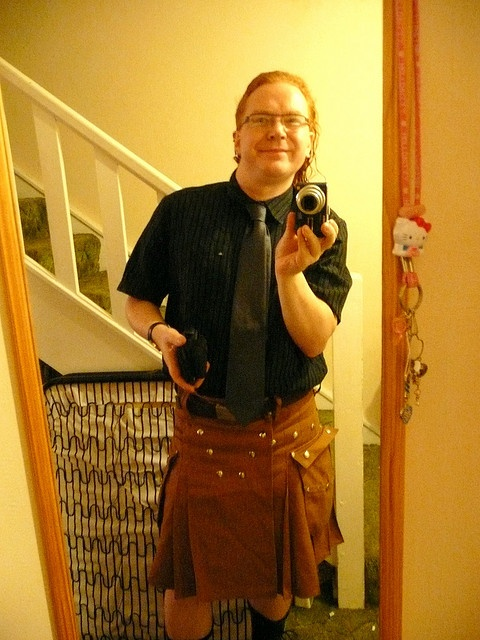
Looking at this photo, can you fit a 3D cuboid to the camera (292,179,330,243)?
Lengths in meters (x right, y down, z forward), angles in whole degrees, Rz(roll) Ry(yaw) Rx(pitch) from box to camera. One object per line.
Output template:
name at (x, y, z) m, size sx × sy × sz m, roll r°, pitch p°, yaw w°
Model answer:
camera at (0.103, -0.172, 0.792) m, size 0.044 × 0.056 × 0.096 m, roll 2°, pitch -37°, yaw 11°

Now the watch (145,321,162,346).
watch at (-0.147, 0.021, 0.971) m, size 0.028 × 0.042 × 0.026 m, roll -4°, pitch 1°, yaw 39°

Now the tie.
tie at (0.018, -0.015, 0.914) m, size 0.103 × 0.351 × 0.048 m, roll -4°, pitch 1°, yaw -41°
